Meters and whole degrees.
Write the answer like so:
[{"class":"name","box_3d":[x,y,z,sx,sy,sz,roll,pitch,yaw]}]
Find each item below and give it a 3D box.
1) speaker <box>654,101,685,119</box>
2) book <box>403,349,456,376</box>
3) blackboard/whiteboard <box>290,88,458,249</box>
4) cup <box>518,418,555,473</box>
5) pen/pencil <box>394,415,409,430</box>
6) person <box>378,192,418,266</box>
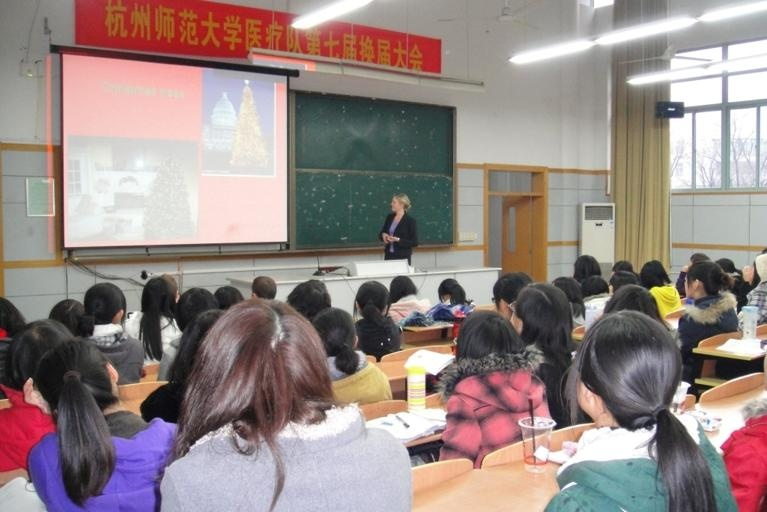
[{"class":"speaker","box_3d":[4.738,-2.391,9.049,0.506,0.360,0.286,1,1,1]},{"class":"book","box_3d":[0.269,0.614,3.386,0.223,0.056,0.234,8,22,31]},{"class":"blackboard/whiteboard","box_3d":[-0.240,-1.286,7.909,2.386,1.919,0.093,1,-3,-33]},{"class":"cup","box_3d":[0.640,0.759,2.297,0.186,0.207,0.185,-2,3,0]},{"class":"pen/pencil","box_3d":[0.086,0.800,2.631,0.020,0.021,0.096,47,-4,-32]},{"class":"person","box_3d":[0.223,-0.365,7.605,0.469,0.974,1.087,-1,3,2]}]
